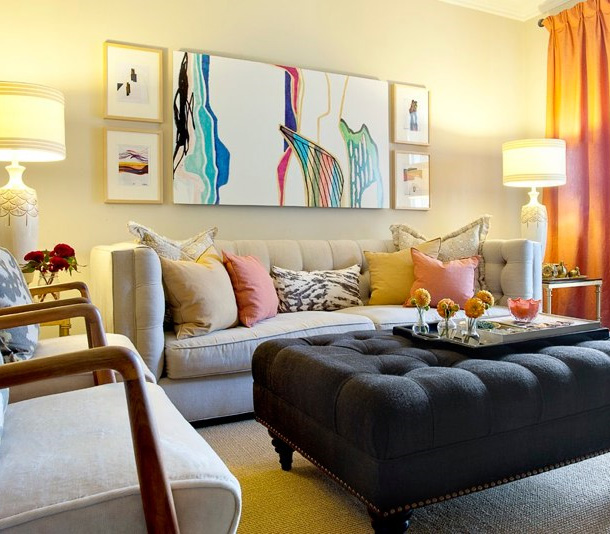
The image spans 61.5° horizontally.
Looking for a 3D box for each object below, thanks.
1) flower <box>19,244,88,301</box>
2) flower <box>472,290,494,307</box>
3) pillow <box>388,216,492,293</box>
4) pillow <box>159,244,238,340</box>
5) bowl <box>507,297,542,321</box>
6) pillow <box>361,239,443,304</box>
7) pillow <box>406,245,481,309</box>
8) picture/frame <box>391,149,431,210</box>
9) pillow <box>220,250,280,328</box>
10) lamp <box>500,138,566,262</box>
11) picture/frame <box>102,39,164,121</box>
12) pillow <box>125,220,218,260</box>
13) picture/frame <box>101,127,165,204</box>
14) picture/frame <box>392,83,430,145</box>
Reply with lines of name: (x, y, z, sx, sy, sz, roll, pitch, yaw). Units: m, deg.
flower: (-1.319, -0.022, 2.714, 0.237, 0.248, 0.178, 12, -40, -45)
flower: (0.798, 0.146, 2.300, 0.082, 0.085, 0.047, -19, -18, -11)
pillow: (0.903, -0.071, 3.479, 0.539, 0.560, 0.221, 2, -20, 9)
pillow: (-0.523, 0.114, 2.662, 0.233, 0.440, 0.437, 3, 12, 30)
bowl: (0.982, 0.184, 2.273, 0.102, 0.079, 0.108, 2, -3, 0)
pillow: (0.629, 0.046, 3.305, 0.383, 0.365, 0.155, -3, -35, 3)
pillow: (0.890, 0.103, 3.272, 0.427, 0.410, 0.187, 3, -11, 8)
picture/frame: (0.866, -0.732, 4.267, 0.471, 0.609, 0.075, -3, 5, -32)
pillow: (-0.310, 0.137, 2.793, 0.176, 0.344, 0.407, -4, -4, 24)
lamp: (1.822, -0.572, 4.088, 0.456, 0.899, 0.263, 1, 7, 21)
picture/frame: (-1.114, -1.185, 3.325, 0.355, 0.515, 0.066, 0, -8, -15)
pillow: (-0.713, -0.134, 2.765, 0.493, 0.178, 0.134, 2, 14, -41)
picture/frame: (-1.133, -0.655, 3.310, 0.490, 0.683, 0.066, 1, -2, -32)
picture/frame: (0.860, -1.270, 4.243, 0.494, 0.610, 0.057, -3, 5, -34)
